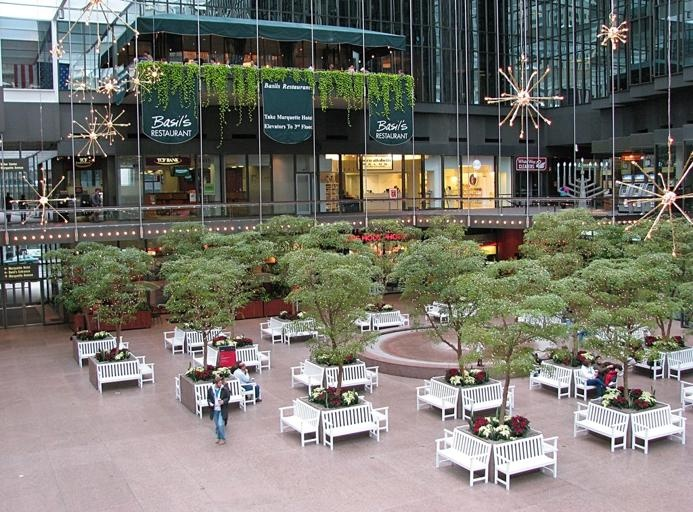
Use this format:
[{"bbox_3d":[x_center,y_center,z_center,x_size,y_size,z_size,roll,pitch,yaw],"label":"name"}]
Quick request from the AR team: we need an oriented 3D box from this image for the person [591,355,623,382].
[{"bbox_3d":[9.620,4.270,24.400,0.892,0.497,1.140,-1,4,-32],"label":"person"}]

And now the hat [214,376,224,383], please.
[{"bbox_3d":[-4.056,3.944,21.011,0.218,0.242,0.258,-1,-2,-15],"label":"hat"}]
